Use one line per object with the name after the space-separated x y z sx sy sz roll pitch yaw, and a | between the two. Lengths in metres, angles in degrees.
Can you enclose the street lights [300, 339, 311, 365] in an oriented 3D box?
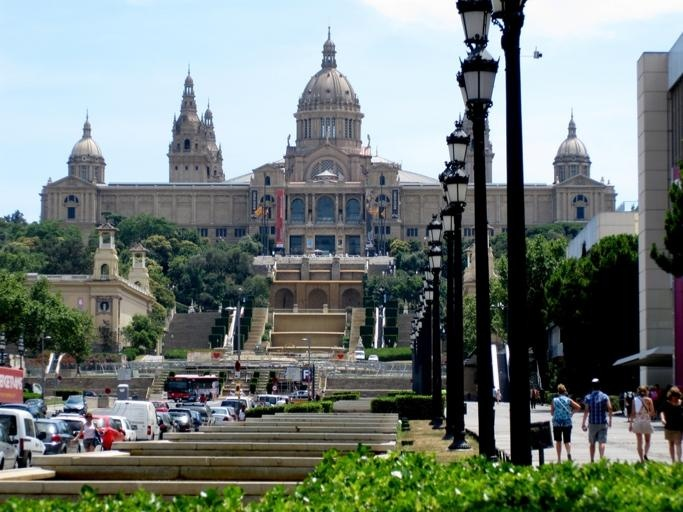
-3.425 8.794 159.720 0.597 1.928 0.481 7 -14 -18 | street lights
